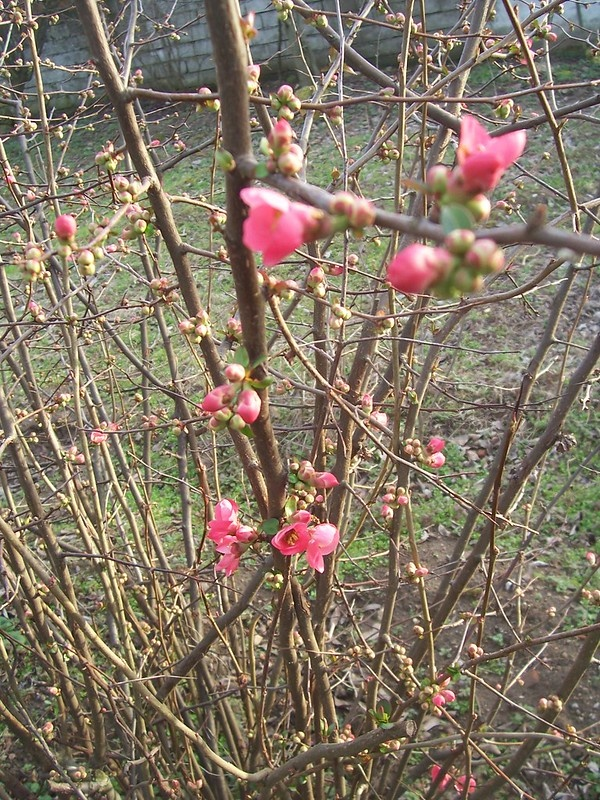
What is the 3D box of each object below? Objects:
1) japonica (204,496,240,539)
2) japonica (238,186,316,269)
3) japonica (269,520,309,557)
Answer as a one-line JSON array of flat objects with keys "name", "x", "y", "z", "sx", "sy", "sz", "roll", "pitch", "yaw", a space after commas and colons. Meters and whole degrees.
[{"name": "japonica", "x": -0.217, "y": 0.303, "z": 2.133, "sx": 0.083, "sy": 0.093, "sz": 0.090, "roll": 13, "pitch": 4, "yaw": -8}, {"name": "japonica", "x": -0.043, "y": -0.299, "z": 1.456, "sx": 0.124, "sy": 0.135, "sz": 0.158, "roll": -17, "pitch": 26, "yaw": -21}, {"name": "japonica", "x": -0.025, "y": 0.328, "z": 1.996, "sx": 0.083, "sy": 0.084, "sz": 0.050, "roll": -21, "pitch": 29, "yaw": -29}]
